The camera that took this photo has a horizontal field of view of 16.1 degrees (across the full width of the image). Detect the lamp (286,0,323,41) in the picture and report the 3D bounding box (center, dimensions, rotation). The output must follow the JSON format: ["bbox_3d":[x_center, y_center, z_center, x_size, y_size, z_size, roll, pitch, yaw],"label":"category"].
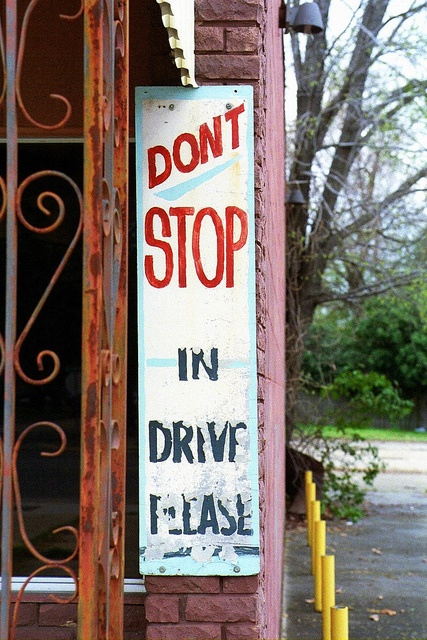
[{"bbox_3d":[0.606,-2.088,10.260,0.232,0.249,0.435,-1,-6,5],"label":"lamp"}]
